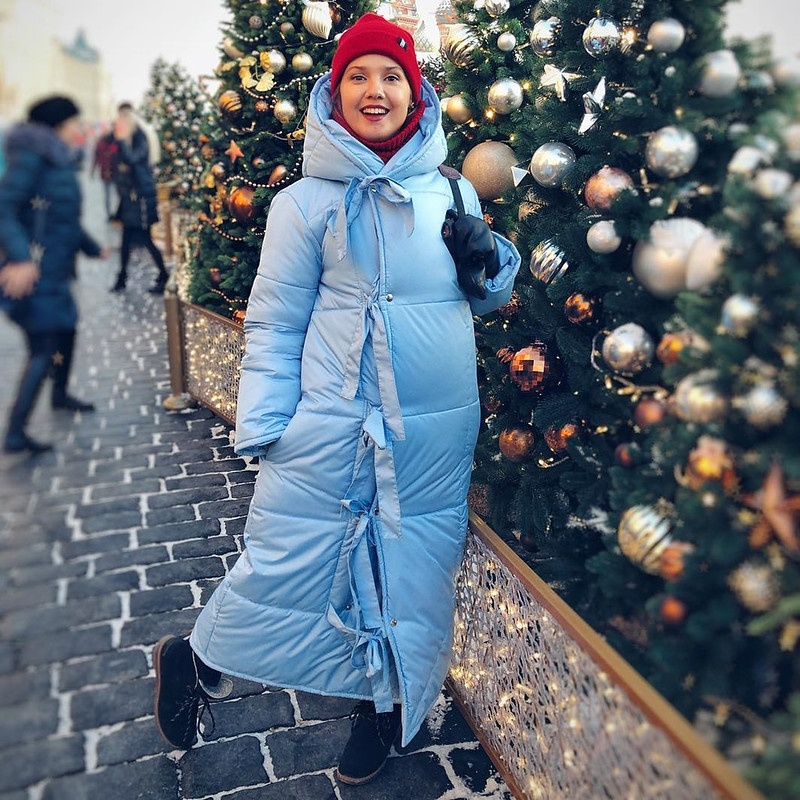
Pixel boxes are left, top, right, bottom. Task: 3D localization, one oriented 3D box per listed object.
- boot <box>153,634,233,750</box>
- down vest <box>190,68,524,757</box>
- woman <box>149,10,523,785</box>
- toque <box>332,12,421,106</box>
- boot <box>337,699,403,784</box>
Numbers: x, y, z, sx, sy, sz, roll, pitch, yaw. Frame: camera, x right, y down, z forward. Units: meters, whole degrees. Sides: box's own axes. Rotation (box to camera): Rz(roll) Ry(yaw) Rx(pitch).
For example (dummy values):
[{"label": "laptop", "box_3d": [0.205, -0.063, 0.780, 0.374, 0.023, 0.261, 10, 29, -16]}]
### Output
[{"label": "boot", "box_3d": [-0.724, 1.004, 2.586, 0.316, 0.505, 0.182, -4, 1, 13]}, {"label": "down vest", "box_3d": [-0.119, 0.091, 2.297, 0.947, 1.912, 0.754, 17, 24, 10]}, {"label": "woman", "box_3d": [-0.167, 0.032, 2.350, 1.157, 2.554, 0.877, -2, 4, -18]}, {"label": "toque", "box_3d": [-0.081, -1.094, 2.343, 0.203, 0.246, 0.287, -1, -12, 0]}, {"label": "boot", "box_3d": [-0.095, 1.183, 2.490, 0.113, 0.143, 0.346, 7, 3, 16]}]
